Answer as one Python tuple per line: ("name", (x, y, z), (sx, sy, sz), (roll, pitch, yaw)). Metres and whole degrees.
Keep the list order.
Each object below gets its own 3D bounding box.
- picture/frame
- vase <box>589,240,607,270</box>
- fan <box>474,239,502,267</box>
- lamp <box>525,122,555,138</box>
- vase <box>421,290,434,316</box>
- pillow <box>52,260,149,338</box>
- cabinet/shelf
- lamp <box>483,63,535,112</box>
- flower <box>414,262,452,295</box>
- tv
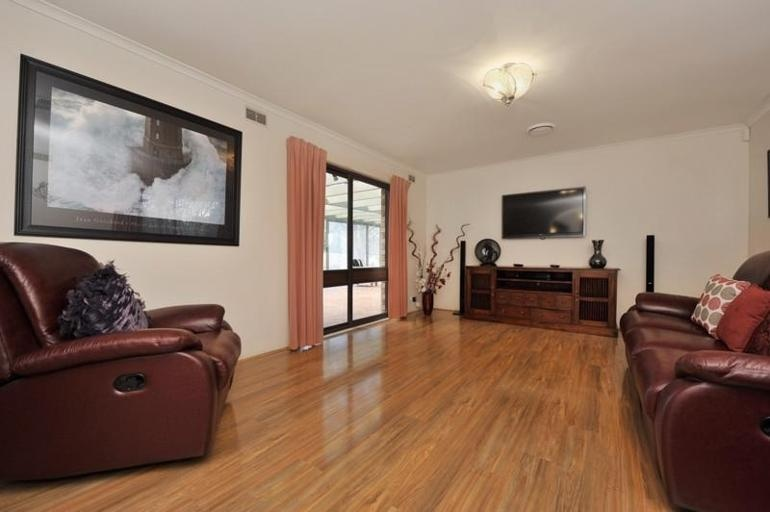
("picture/frame", (-2.435, -0.994, 4.470), (0.062, 1.236, 1.787), (4, 1, 45))
("vase", (2.804, -0.036, 6.384), (0.217, 0.369, 0.430), (6, 12, 23))
("fan", (1.520, -0.079, 7.303), (0.417, 0.361, 0.315), (5, 12, 19))
("lamp", (1.897, -1.563, 5.935), (0.325, 0.118, 0.286), (5, 12, 18))
("vase", (0.649, 0.690, 7.398), (0.140, 0.397, 0.151), (0, 11, -2))
("pillow", (-2.118, 0.310, 3.634), (0.543, 0.551, 0.245), (-2, -27, -33))
("cabinet/shelf", (2.095, 0.518, 6.615), (2.026, 0.939, 0.425), (9, 14, 35))
("lamp", (1.208, -1.714, 4.818), (0.453, 0.369, 0.157), (2, 12, 8))
("flower", (0.762, 0.356, 7.733), (0.220, 0.235, 0.411), (18, 28, 11))
("tv", (2.270, -0.618, 6.867), (0.748, 0.532, 0.077), (-2, 0, 31))
